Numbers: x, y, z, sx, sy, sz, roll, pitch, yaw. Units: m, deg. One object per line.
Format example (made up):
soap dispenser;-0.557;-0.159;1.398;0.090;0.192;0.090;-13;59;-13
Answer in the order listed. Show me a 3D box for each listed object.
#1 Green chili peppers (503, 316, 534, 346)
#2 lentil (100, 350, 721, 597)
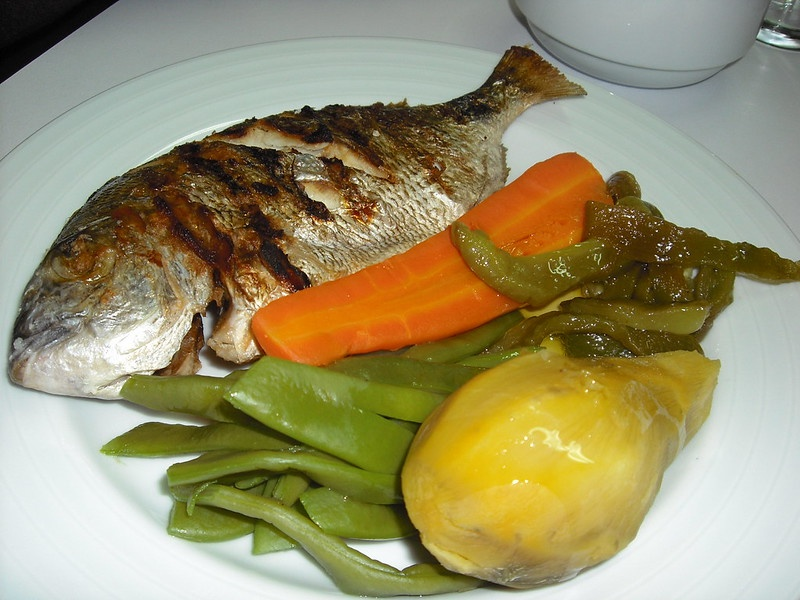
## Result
Green chili peppers;0.343;0.093;2.170;0.100;0.024;0.055;-28;37;3
lentil;0.122;0.425;1.889;1.481;0.350;0.603;-5;80;0
